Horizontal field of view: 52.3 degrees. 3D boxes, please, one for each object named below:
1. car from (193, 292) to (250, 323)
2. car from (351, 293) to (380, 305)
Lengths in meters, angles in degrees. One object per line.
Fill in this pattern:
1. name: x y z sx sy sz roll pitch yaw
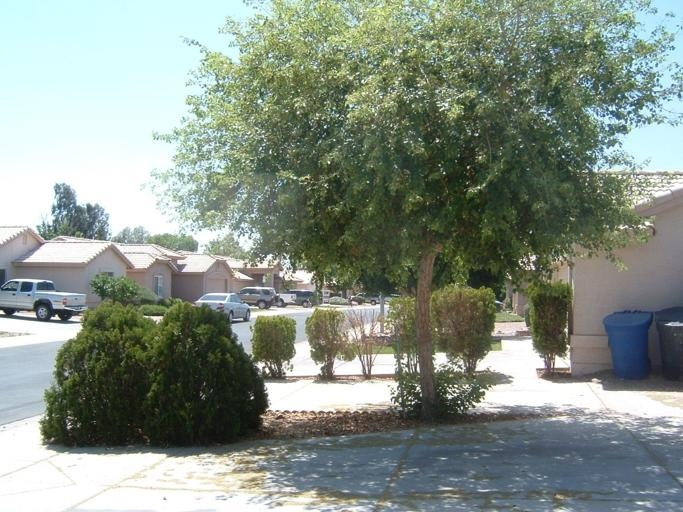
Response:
1. car: -6.159 2.770 37.699 2.263 1.681 3.706 -1 -6 -9
2. car: 2.821 5.471 84.474 3.195 1.273 1.609 -3 0 14
